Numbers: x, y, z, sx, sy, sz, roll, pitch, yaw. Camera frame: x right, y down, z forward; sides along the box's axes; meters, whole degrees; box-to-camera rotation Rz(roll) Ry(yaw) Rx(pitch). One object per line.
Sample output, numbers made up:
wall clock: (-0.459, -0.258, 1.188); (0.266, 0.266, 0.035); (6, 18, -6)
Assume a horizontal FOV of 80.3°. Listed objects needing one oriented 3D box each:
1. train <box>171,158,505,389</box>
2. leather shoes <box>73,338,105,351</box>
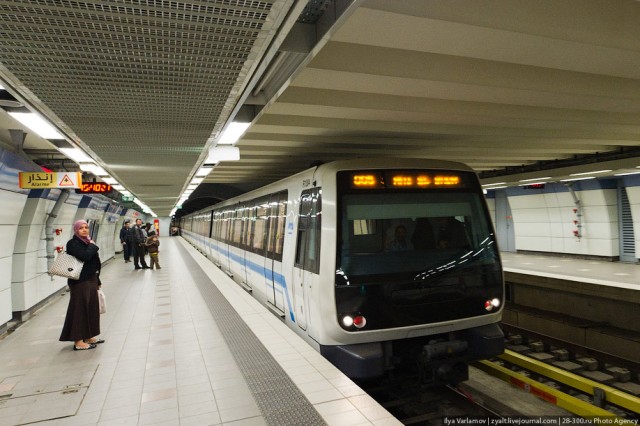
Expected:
train: (0.050, 0.922, 7.943); (2.769, 3.768, 6.007); (-10, 6, -37)
leather shoes: (-4.545, 2.555, 7.385); (0.327, 0.086, 0.293); (-1, -3, -10)
